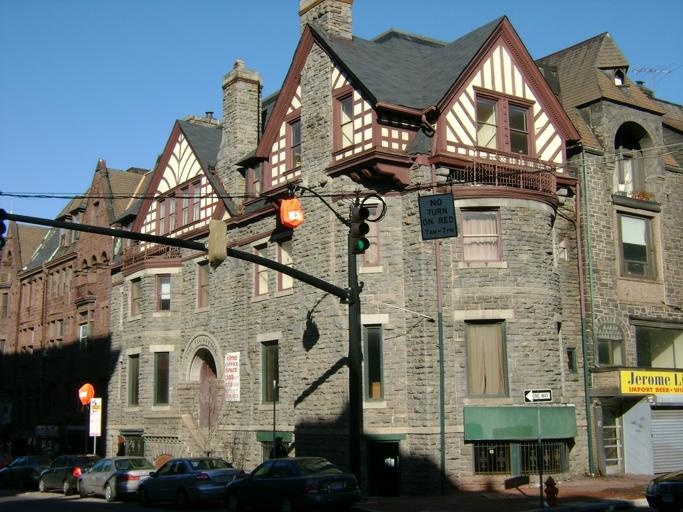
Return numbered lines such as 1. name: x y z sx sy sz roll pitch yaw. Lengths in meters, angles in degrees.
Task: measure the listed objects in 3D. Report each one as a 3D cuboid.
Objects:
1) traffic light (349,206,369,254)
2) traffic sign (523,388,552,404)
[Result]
1. traffic light: 0.645 -1.050 38.234 0.643 1.732 1.207 -1 -17 -1
2. traffic sign: 7.297 5.161 39.252 0.613 0.491 0.844 -16 -22 42
